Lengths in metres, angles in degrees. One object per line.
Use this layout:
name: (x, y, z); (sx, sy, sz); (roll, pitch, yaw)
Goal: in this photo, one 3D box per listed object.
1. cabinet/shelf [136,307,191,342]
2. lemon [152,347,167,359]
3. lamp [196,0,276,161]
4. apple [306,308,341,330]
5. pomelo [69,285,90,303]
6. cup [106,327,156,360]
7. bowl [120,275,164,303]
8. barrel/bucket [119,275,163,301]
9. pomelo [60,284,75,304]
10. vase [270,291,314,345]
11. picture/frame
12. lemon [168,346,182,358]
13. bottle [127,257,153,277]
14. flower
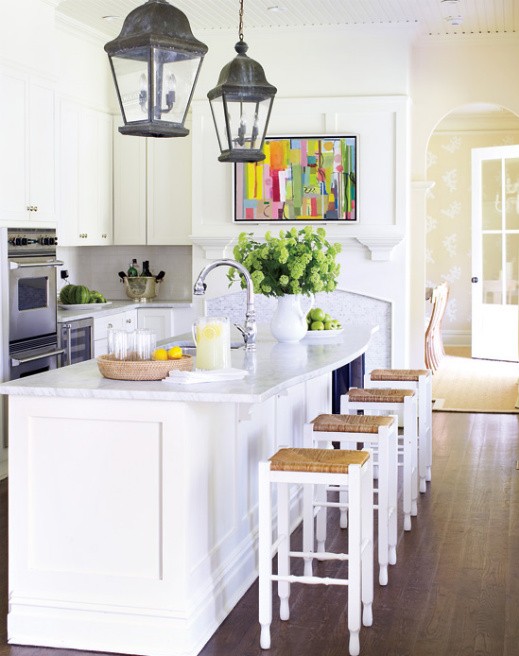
cabinet/shelf: (-0.709, -0.045, 4.612); (0.289, 0.281, 0.149); (0, 0, 6)
lemon: (-0.318, 0.078, 1.926); (0.030, 0.032, 0.040); (-5, 19, 14)
lamp: (-0.070, -0.971, 2.311); (0.253, 0.685, 0.284); (-1, -1, -2)
apple: (0.347, -0.037, 3.201); (0.094, 0.076, 0.165); (16, -4, 44)
pomelo: (-1.493, -0.291, 5.066); (0.138, 0.162, 0.148); (1, 0, -2)
cup: (-0.399, 0.048, 1.905); (0.142, 0.137, 0.082); (0, 6, -5)
bowl: (-1.132, -0.328, 5.805); (0.338, 0.179, 0.239); (0, -2, -4)
barrel/bucket: (-1.145, -0.336, 5.827); (0.342, 0.187, 0.234); (0, 0, -4)
pomelo: (-1.618, -0.285, 5.043); (0.128, 0.156, 0.150); (6, 1, 3)
vase: (0.141, -0.044, 2.912); (0.151, 0.233, 0.169); (-1, -1, 21)
picture/frame: (0.366, -1.235, 4.864); (1.064, 0.775, 0.050); (1, 2, 2)
lemon: (-0.278, 0.077, 1.973); (0.032, 0.033, 0.043); (6, 44, 15)
bottle: (-1.174, -0.605, 5.940); (0.248, 0.209, 0.343); (-1, -1, -13)
flower: (0.135, -0.313, 2.896); (0.467, 0.338, 0.407); (0, 5, -4)
